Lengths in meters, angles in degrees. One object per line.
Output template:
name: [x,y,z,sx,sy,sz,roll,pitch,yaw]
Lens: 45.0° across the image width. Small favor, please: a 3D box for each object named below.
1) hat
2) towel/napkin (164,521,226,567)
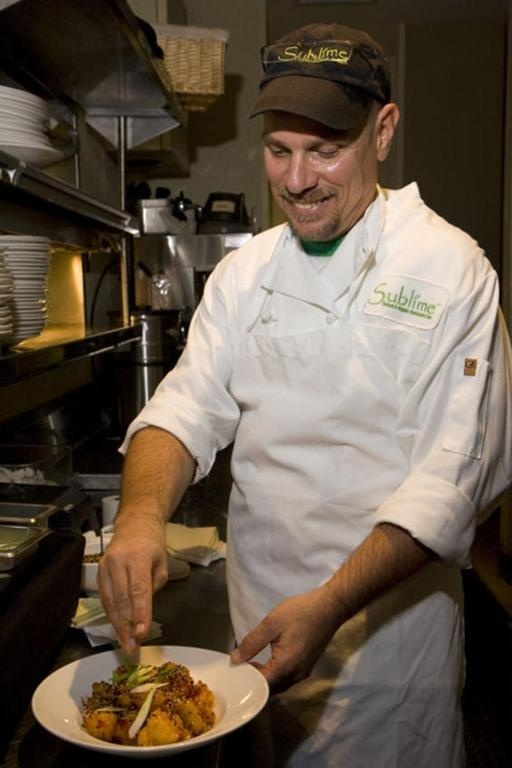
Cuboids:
hat: [0.100,-0.480,0.940,0.172,0.122,0.252,21,39,32]
towel/napkin: [-0.161,0.437,1.671,0.137,0.034,0.129,5,7,-15]
